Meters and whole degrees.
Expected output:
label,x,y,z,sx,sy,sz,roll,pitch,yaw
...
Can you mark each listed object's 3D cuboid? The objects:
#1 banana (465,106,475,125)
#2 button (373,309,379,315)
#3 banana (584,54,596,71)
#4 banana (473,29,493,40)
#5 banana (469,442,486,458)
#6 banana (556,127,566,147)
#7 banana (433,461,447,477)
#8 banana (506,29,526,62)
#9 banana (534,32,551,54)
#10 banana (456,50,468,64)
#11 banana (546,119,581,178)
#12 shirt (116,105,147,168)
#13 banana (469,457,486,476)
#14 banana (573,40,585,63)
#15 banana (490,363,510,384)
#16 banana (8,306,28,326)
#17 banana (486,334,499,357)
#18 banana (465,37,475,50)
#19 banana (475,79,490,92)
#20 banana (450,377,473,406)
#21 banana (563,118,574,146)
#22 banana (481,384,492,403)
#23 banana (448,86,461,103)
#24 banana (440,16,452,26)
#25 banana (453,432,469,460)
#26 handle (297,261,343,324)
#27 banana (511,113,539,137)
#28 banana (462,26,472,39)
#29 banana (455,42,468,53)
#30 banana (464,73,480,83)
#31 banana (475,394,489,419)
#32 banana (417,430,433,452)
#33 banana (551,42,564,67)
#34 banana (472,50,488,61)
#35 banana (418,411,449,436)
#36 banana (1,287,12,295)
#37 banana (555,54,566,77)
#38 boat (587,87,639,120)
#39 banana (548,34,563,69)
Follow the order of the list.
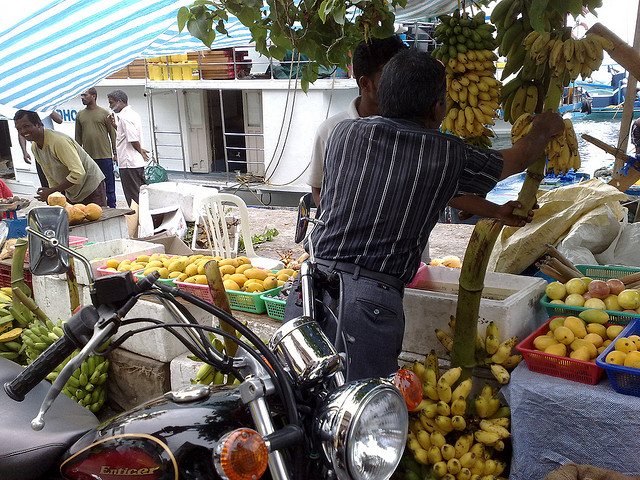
label,x,y,z,sx,sy,sz,roll,pitch,yaw
banana,0.787,-0.671,2.382,0.027,0.085,0.040,4,-23,-42
button,0.261,0.332,2.069,0.023,0.022,0.008,-2,17,-14
banana,1.293,-0.862,2.161,0.042,0.073,0.019,-34,7,-25
banana,0.837,-1.068,2.301,0.094,0.051,0.049,7,18,16
banana,0.846,1.128,2.422,0.073,0.102,0.139,-6,-14,23
banana,1.222,-0.516,2.283,0.028,0.141,0.036,11,-25,14
banana,0.632,1.216,2.350,0.076,0.088,0.044,-4,18,-18
banana,1.018,-1.033,2.368,0.043,0.182,0.060,14,27,-12
banana,1.056,-0.959,2.146,0.050,0.112,0.036,37,7,26
banana,0.730,-0.953,2.310,0.026,0.092,0.028,-27,-19,25
banana,1.218,-0.443,2.336,0.155,0.363,0.102,0,-10,-31
shirt,-3.887,-2.134,9.202,0.532,1.234,0.510,-6,18,-25
banana,0.838,1.212,2.375,0.097,0.062,0.054,-29,25,-28
banana,1.232,-0.911,2.142,0.056,0.111,0.104,13,20,32
banana,1.012,0.754,2.538,0.057,0.058,0.126,7,21,-7
banana,-2.677,0.672,3.998,0.058,0.227,0.072,-21,28,7
banana,0.997,0.613,2.606,0.050,0.167,0.049,-18,43,-18
banana,0.767,-1.017,2.296,0.030,0.061,0.019,-26,-24,23
banana,0.837,-0.800,2.305,0.025,0.097,0.031,-37,-17,22
banana,0.791,0.861,2.499,0.064,0.061,0.213,-9,39,30
banana,1.256,-0.552,2.275,0.042,0.168,0.053,-11,15,26
banana,0.957,0.881,2.575,0.032,0.107,0.037,26,-17,-4
banana,0.714,-0.783,2.387,0.028,0.111,0.035,-9,5,-4
banana,0.671,-1.186,2.389,0.021,0.049,0.060,33,19,-35
banana,0.752,1.110,2.412,0.063,0.126,0.039,28,4,-3
handle,0.008,0.205,1.745,0.145,0.084,0.238,15,24,-9
banana,1.084,-0.647,2.350,0.049,0.086,0.232,41,58,10
banana,0.745,-1.069,2.280,0.029,0.062,0.022,-16,-34,13
banana,0.728,-1.001,2.309,0.060,0.030,0.020,62,12,27
banana,0.782,-0.849,2.308,0.025,0.037,0.073,20,23,-32
banana,0.904,0.930,2.499,0.044,0.138,0.064,-7,22,21
banana,0.571,1.101,2.446,0.102,0.049,0.036,57,30,12
banana,1.114,-0.884,2.108,0.035,0.136,0.044,21,-21,1
banana,0.821,-0.953,2.293,0.096,0.026,0.031,50,13,5
banana,0.623,1.011,2.458,0.162,0.044,0.056,45,7,25
banana,-2.988,0.491,4.287,0.082,0.085,0.025,17,23,32
banana,1.134,-0.832,2.119,0.026,0.107,0.033,13,17,10
boat,20.686,-10.036,32.291,2.396,2.632,16.615,11,20,27
banana,1.116,-0.905,2.131,0.031,0.194,0.049,19,-20,-20
